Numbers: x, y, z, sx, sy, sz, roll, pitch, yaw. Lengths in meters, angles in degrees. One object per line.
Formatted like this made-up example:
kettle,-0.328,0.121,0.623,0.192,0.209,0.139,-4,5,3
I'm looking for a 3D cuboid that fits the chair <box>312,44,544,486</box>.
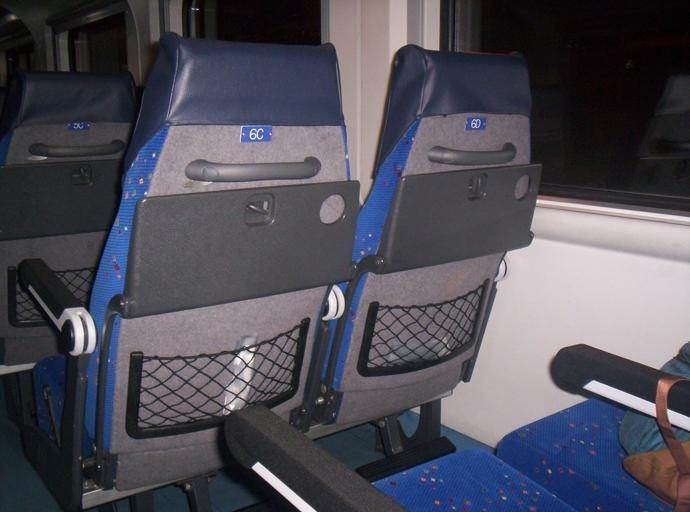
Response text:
chair,0.165,0.030,2.118,0.970,1.499,1.034,6,13,23
